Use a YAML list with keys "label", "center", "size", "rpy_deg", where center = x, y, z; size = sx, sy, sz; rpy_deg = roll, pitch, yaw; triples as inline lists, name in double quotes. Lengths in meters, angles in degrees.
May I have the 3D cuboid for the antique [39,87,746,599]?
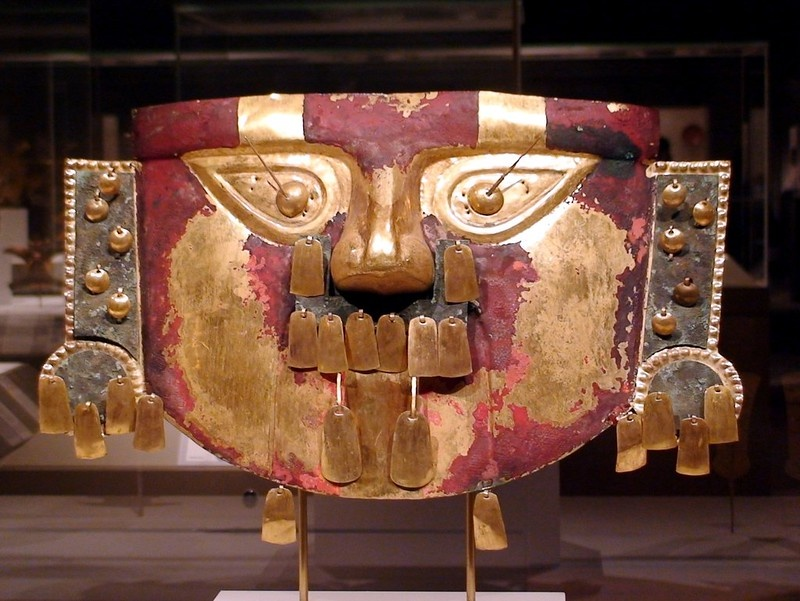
- label: "antique"
  center: [-0.005, 0.083, 4.971]
  size: [1.671, 1.104, 0.267]
  rpy_deg: [1, 5, 1]
